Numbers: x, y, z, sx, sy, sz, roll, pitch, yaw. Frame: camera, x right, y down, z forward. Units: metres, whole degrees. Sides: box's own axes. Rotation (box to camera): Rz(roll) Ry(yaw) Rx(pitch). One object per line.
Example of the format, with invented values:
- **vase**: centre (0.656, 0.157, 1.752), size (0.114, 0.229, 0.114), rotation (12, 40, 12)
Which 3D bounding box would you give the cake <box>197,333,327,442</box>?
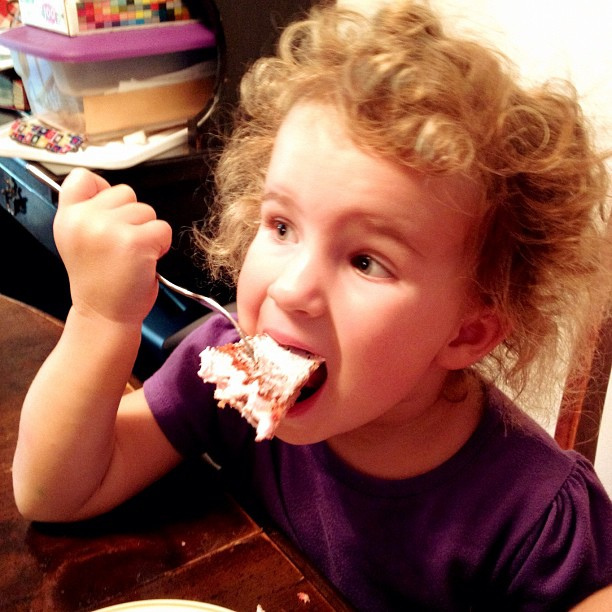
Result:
- **cake**: centre (-0.050, 0.066, 0.595), size (0.118, 0.027, 0.141), rotation (16, 35, -10)
